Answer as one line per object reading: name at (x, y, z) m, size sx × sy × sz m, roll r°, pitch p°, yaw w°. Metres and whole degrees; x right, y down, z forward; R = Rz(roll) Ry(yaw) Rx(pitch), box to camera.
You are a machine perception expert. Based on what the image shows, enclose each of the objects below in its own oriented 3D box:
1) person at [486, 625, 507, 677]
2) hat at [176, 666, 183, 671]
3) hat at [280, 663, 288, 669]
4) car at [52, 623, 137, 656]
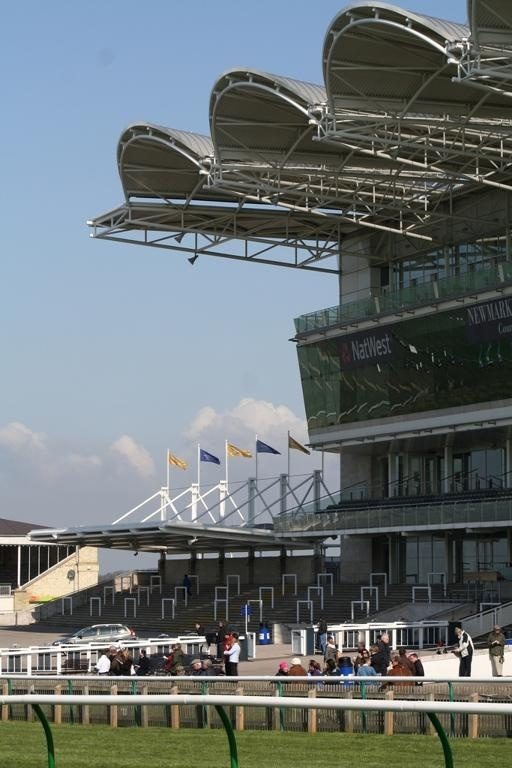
person at (5.603, 5.977, 55.201) m, size 0.317 × 1.102 × 1.081 m, roll -3°, pitch -8°, yaw 5°
hat at (-1.580, 6.036, 52.103) m, size 0.125 × 0.128 × 0.100 m, roll -1°, pitch -1°, yaw -16°
hat at (0.644, 5.786, 50.263) m, size 0.150 × 0.197 × 0.189 m, roll 2°, pitch 7°, yaw 2°
car at (-4.337, 7.092, 67.037) m, size 1.980 × 0.804 × 1.128 m, roll 3°, pitch -14°, yaw -17°
